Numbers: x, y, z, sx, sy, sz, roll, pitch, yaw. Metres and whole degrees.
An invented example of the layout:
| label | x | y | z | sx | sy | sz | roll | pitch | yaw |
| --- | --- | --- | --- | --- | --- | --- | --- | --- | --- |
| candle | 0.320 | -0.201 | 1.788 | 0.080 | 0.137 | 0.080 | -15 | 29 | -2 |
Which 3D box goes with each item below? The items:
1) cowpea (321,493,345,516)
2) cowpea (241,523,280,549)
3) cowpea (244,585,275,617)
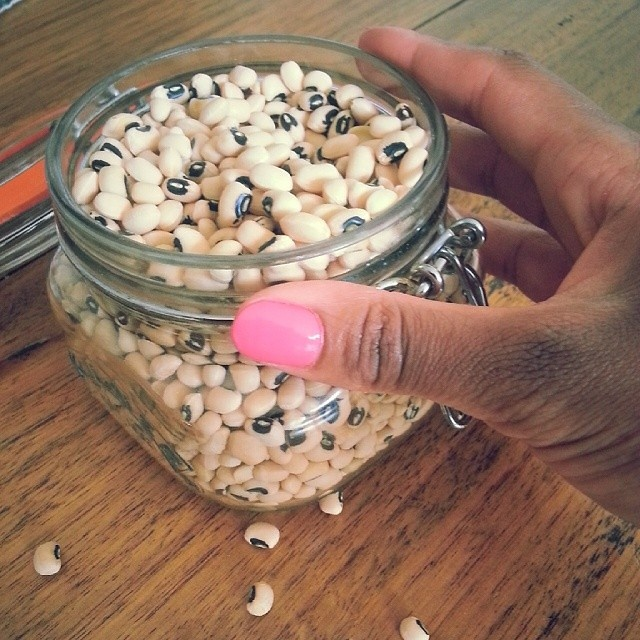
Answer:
| label | x | y | z | sx | sy | sz | roll | pitch | yaw |
| --- | --- | --- | --- | --- | --- | --- | --- | --- | --- |
| cowpea | 0.012 | 0.153 | 0.608 | 0.025 | 0.005 | 0.017 | 2 | 73 | -2 |
| cowpea | -0.046 | 0.172 | 0.589 | 0.030 | 0.012 | 0.019 | -1 | 42 | -1 |
| cowpea | -0.047 | 0.214 | 0.562 | 0.025 | 0.010 | 0.021 | 3 | 67 | 5 |
